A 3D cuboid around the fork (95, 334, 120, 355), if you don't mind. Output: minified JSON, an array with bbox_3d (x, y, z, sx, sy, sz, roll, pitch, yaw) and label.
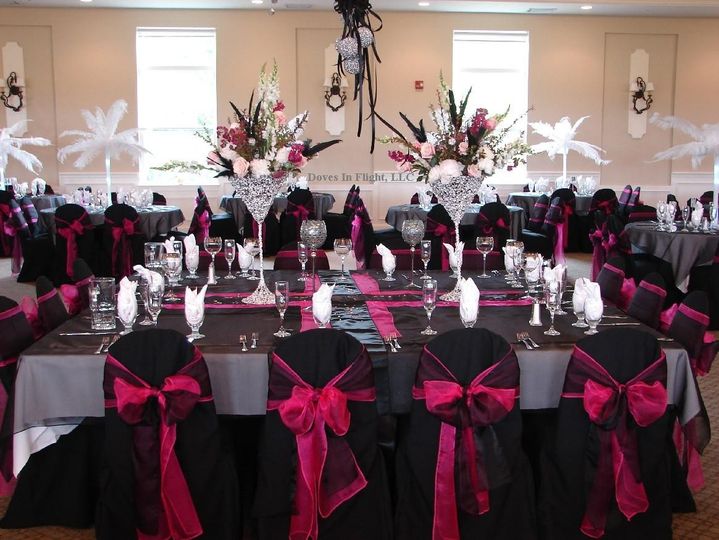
[{"bbox_3d":[-0.972,0.290,2.209,0.049,0.028,0.179,-6,8,-10],"label":"fork"}]

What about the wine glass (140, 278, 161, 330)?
[{"bbox_3d":[-0.940,0.140,2.572,0.088,0.208,0.284,-4,9,-22],"label":"wine glass"}]

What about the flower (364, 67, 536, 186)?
[{"bbox_3d":[0.578,-0.720,3.201,0.601,0.414,0.572,-26,13,-11],"label":"flower"}]

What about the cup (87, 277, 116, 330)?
[{"bbox_3d":[-1.129,0.131,2.520,0.127,0.235,0.129,7,20,-3],"label":"cup"}]

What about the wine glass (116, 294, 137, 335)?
[{"bbox_3d":[-1.010,0.172,2.483,0.072,0.169,0.261,-4,9,-23],"label":"wine glass"}]
